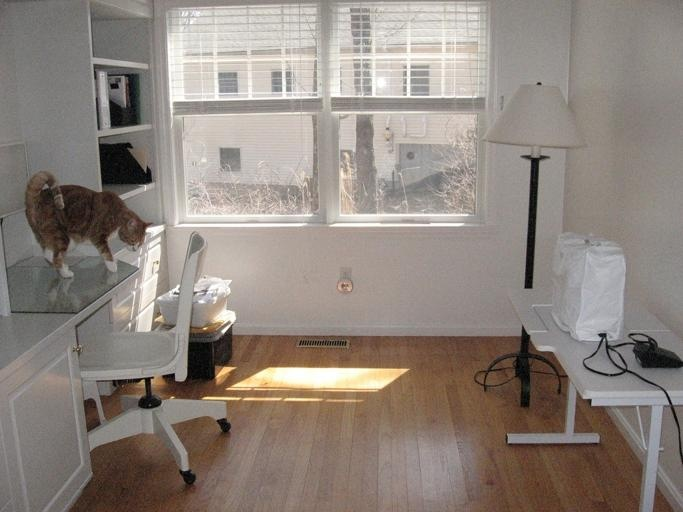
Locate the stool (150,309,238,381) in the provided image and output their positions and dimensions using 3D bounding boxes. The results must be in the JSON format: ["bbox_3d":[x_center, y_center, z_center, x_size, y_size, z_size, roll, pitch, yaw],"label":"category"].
[{"bbox_3d":[-0.863,0.547,3.370,0.311,0.314,0.489,0,4,4],"label":"stool"}]

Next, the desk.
[{"bbox_3d":[1.117,0.637,2.314,0.421,0.423,0.856,1,14,6],"label":"desk"}]

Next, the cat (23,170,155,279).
[{"bbox_3d":[-1.118,-0.192,2.564,0.327,0.565,0.671,20,20,39],"label":"cat"}]

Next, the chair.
[{"bbox_3d":[-0.949,0.440,2.628,0.764,1.016,0.755,-4,9,-26],"label":"chair"}]
